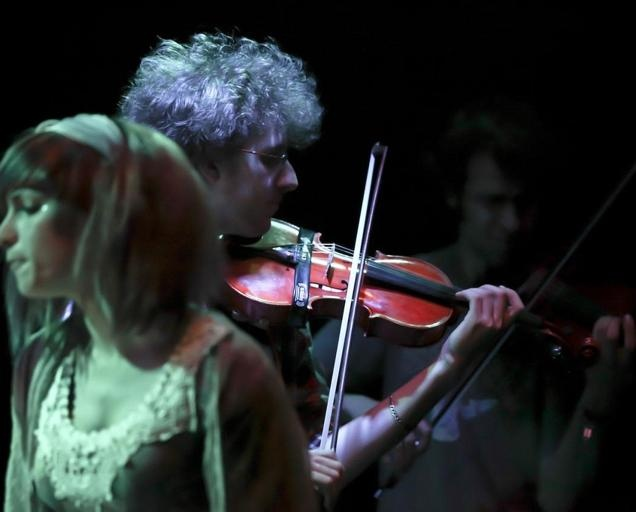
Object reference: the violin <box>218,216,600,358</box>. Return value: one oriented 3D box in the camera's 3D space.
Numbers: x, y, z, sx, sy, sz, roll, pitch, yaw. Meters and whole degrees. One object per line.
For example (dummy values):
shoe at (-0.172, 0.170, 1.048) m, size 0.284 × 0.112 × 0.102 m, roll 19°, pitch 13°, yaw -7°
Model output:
violin at (0.235, 0.079, 1.836) m, size 0.965 × 0.164 × 0.372 m, roll 16°, pitch 36°, yaw -7°

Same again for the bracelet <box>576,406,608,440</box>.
bracelet at (0.696, 0.431, 1.820) m, size 0.063 × 0.083 × 0.022 m, roll 13°, pitch 5°, yaw 5°

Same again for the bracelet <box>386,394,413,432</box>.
bracelet at (0.194, 0.389, 1.778) m, size 0.020 × 0.087 × 0.048 m, roll -32°, pitch -17°, yaw 30°
